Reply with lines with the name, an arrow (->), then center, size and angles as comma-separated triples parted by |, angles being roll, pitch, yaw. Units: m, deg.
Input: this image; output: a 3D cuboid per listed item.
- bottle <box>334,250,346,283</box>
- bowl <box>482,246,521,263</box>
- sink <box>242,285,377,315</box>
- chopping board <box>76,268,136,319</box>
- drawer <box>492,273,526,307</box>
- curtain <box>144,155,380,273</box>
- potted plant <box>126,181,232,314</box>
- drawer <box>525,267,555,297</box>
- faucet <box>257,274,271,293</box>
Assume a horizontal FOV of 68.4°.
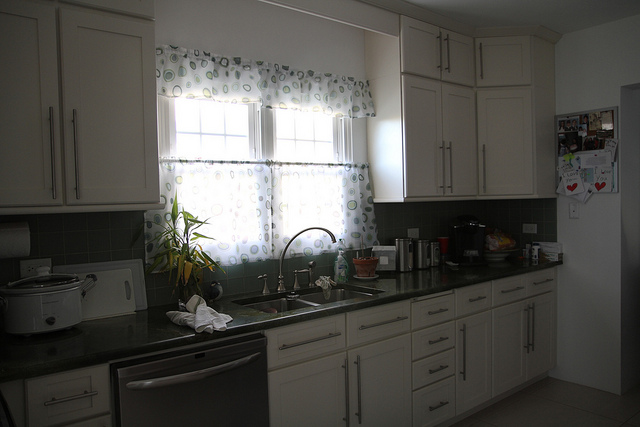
bottle -> 0.167, 0.426, 3.868 | 0.096, 0.242, 0.170 | -3, 4, 2
bowl -> 1.782, 0.397, 4.612 | 0.413, 0.128, 0.165 | -6, 5, -32
sink -> -0.109, 0.648, 3.580 | 0.962, 0.145, 0.257 | -5, 4, -18
chopping board -> -1.408, 0.473, 3.100 | 0.210, 0.290, 0.336 | 12, 11, 37
drawer -> 1.631, 0.653, 4.062 | 0.358, 0.177, 0.225 | -1, -2, -42
curtain -> -0.373, -0.036, 3.730 | 1.572, 0.756, 0.095 | -2, -5, -22
potted plant -> -0.977, 0.262, 3.254 | 0.437, 0.862, 0.535 | -7, 9, -29
drawer -> 2.047, 0.616, 4.367 | 0.350, 0.222, 0.219 | 0, -2, -44
faucet -> -0.408, 0.536, 3.625 | 0.116, 0.176, 0.098 | 6, -9, -36
